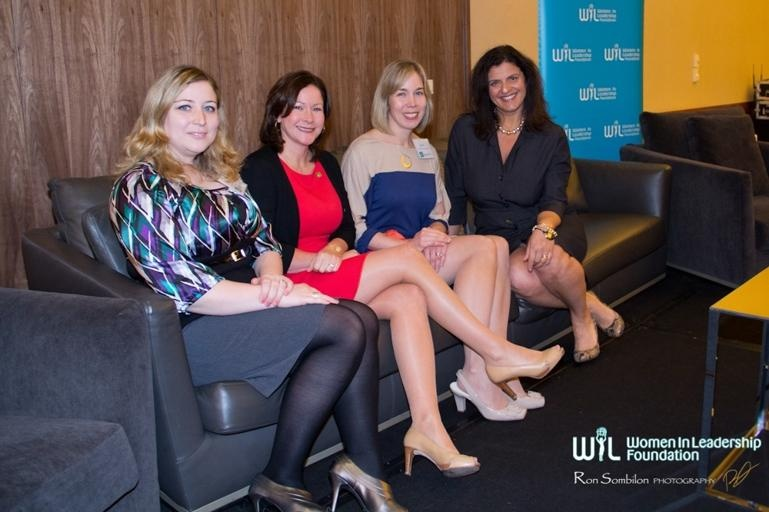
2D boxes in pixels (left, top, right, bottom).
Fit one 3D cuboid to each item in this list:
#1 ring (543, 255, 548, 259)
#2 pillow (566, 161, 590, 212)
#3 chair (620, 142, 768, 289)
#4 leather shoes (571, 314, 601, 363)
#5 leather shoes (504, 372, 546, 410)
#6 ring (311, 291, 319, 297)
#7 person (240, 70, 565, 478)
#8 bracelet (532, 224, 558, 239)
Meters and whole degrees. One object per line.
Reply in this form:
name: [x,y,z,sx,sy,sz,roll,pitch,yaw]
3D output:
ring: [0.801,0.009,2.965,0.018,0.023,0.007,-4,-3,-4]
pillow: [1.281,-0.440,4.006,0.086,0.339,0.318,-4,11,37]
chair: [2.172,-0.299,4.165,0.772,0.811,0.749,15,27,42]
leather shoes: [1.119,0.467,3.309,0.140,0.109,0.414,-13,18,24]
leather shoes: [0.663,0.675,2.842,0.206,0.089,0.124,20,25,26]
ring: [-0.263,0.149,2.261,0.016,0.006,0.019,14,37,-12]
person: [0.187,-0.050,2.682,0.553,1.535,1.524,-14,20,-3]
bracelet: [0.824,-0.127,3.064,0.076,0.040,0.087,27,9,-42]
